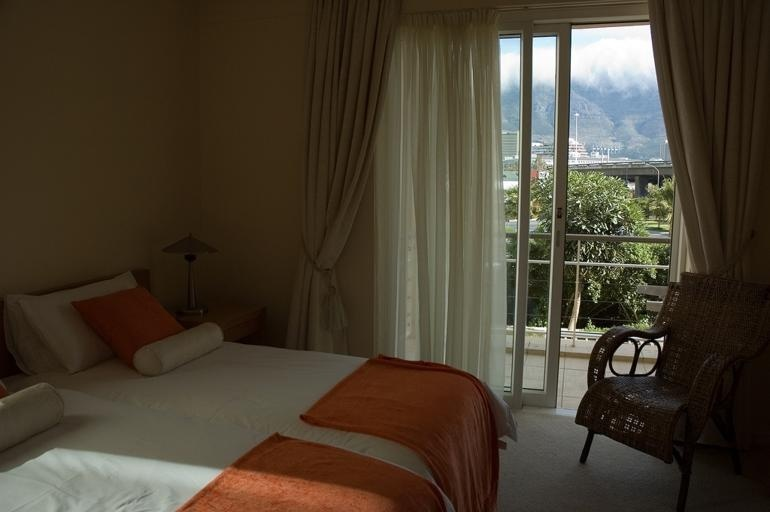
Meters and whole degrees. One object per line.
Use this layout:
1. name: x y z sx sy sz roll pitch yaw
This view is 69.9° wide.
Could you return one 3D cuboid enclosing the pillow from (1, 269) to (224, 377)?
1. pillow: -1.815 0.481 3.507 0.692 0.347 0.776 27 19 19
